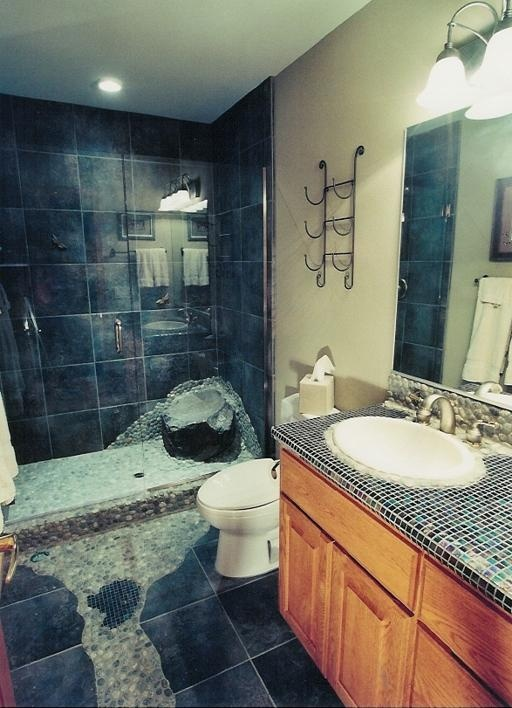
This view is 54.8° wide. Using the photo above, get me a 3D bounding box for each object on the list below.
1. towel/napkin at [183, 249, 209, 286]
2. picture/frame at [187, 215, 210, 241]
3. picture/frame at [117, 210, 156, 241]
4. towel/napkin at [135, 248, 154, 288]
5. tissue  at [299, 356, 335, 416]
[{"bbox_3d":[-0.371,-0.528,2.975,0.181,0.241,0.045,-5,15,-19],"label":"towel/napkin"},{"bbox_3d":[-0.348,-0.747,2.920,0.133,0.156,0.016,-2,19,-18],"label":"picture/frame"},{"bbox_3d":[-0.701,-0.744,2.842,0.155,0.144,0.012,-1,6,-16],"label":"picture/frame"},{"bbox_3d":[-0.658,-0.502,2.916,0.095,0.217,0.024,-4,12,-11],"label":"towel/napkin"},{"bbox_3d":[0.256,0.130,2.067,0.150,0.235,0.153,10,19,36],"label":"tissue "}]
